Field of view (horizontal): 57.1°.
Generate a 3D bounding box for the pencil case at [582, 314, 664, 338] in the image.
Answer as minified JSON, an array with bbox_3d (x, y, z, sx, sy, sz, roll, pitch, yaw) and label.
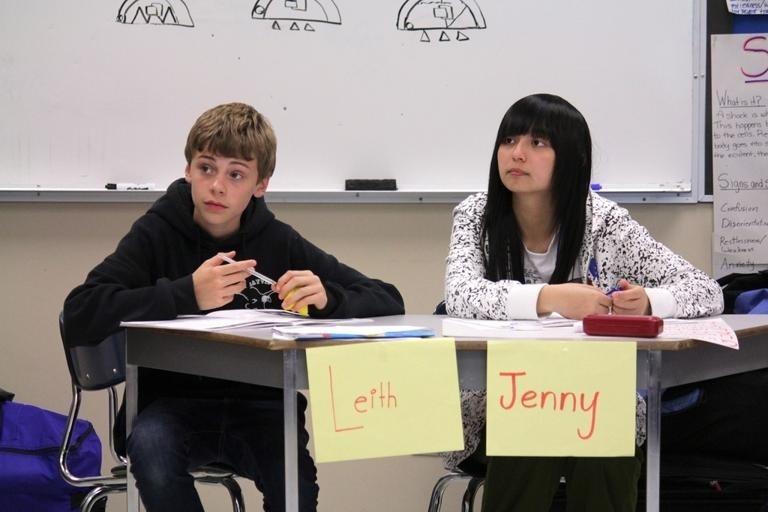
[{"bbox_3d":[0.594,0.174,1.750,0.187,0.058,0.048,-2,-5,11],"label":"pencil case"}]
